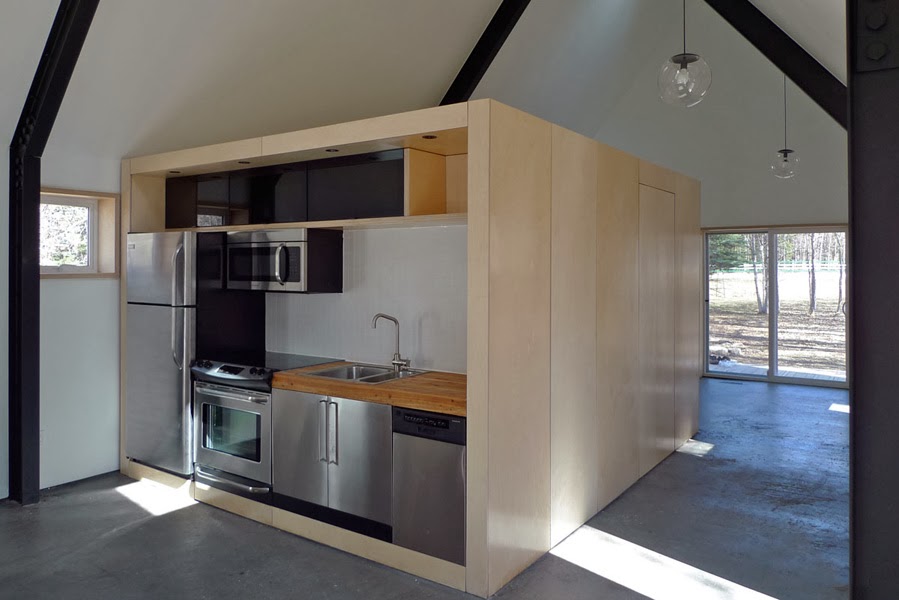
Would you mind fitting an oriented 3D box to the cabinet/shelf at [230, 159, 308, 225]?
[{"bbox_3d":[-1.587,-0.938,5.585,0.847,0.610,0.444,1,1,34],"label":"cabinet/shelf"}]

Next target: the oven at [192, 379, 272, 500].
[{"bbox_3d":[-1.813,1.183,5.677,0.905,0.924,0.654,5,6,24],"label":"oven"}]

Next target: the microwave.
[{"bbox_3d":[-1.567,-0.339,5.687,0.969,0.561,0.497,2,2,29],"label":"microwave"}]

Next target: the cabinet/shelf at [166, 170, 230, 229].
[{"bbox_3d":[-2.410,-0.981,6.053,0.516,0.508,0.187,1,1,32],"label":"cabinet/shelf"}]

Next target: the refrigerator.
[{"bbox_3d":[-2.703,0.458,5.851,0.941,2.205,0.329,5,10,29],"label":"refrigerator"}]
